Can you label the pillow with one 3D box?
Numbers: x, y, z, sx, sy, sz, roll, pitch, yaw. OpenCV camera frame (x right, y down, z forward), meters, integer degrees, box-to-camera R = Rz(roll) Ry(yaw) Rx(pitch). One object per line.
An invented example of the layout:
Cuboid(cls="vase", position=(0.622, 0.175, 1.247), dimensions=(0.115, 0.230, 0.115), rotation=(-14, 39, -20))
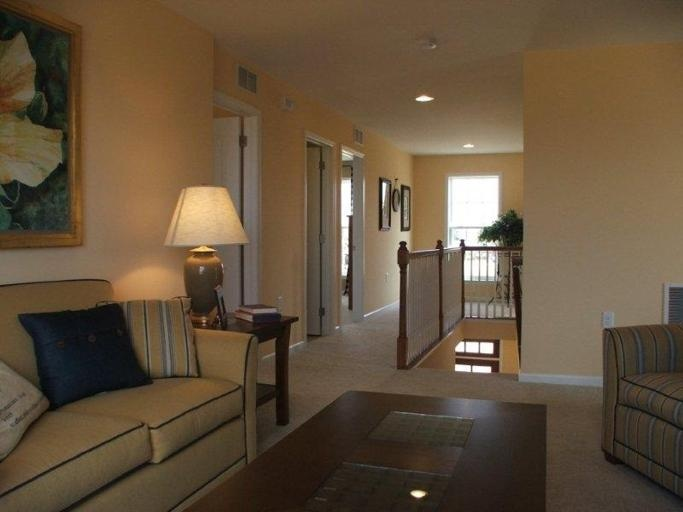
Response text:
Cuboid(cls="pillow", position=(-1.212, 0.616, 2.631), dimensions=(0.211, 0.431, 0.802), rotation=(-39, -18, 30))
